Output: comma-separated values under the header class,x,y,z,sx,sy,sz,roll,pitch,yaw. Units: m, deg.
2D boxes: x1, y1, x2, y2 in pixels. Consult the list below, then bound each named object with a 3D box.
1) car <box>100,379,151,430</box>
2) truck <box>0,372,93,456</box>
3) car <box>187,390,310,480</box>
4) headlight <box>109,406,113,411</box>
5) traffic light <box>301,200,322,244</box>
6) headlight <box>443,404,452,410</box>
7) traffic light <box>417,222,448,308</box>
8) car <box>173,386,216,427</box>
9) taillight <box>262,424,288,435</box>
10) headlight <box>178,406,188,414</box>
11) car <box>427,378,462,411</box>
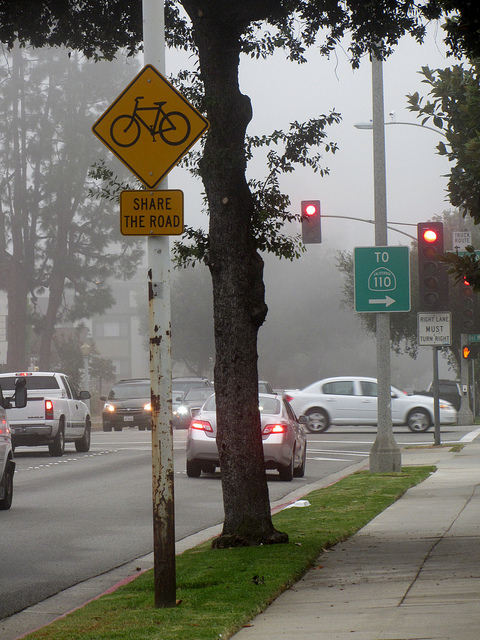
class,x,y,z,sx,sy,sz,roll,pitch,yaw
car,-4.226,3.221,39.940,1.680,1.925,2.720,-2,-3,-7
truck,-4.333,2.093,24.271,1.270,1.327,2.518,0,-1,10
car,0.284,1.896,18.032,0.955,1.008,2.630,0,-2,8
headlight,-4.744,3.281,39.553,0.150,0.189,0.040,4,0,10
traffic light,1.505,-2.043,23.009,0.411,0.200,1.151,-1,-50,5
headlight,6.446,2.745,33.588,0.221,0.165,0.396,-4,-3,10
traffic light,3.568,-0.952,20.164,0.436,1.809,0.429,-5,-21,17
car,-1.700,2.984,37.178,1.328,1.462,3.615,-1,-3,0
taillight,0.560,1.767,17.352,0.265,0.099,0.192,-2,5,-4
headlight,-2.007,3.179,37.353,0.305,0.226,0.182,-3,-3,-6
car,9.759,3.399,49.957,1.251,1.676,2.432,2,5,23
